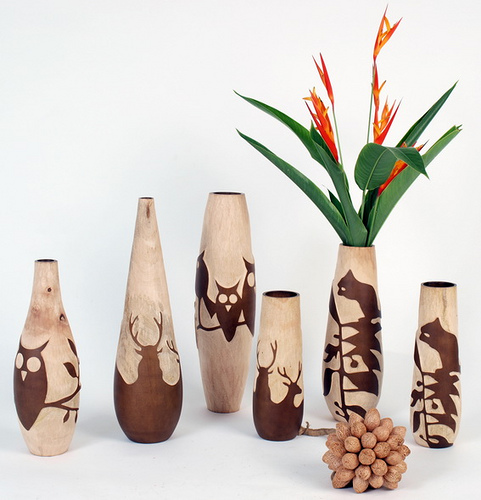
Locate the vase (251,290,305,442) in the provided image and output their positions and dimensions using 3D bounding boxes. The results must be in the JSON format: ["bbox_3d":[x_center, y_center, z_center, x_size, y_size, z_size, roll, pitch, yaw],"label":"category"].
[{"bbox_3d":[0.084,0.270,1.604,0.111,0.342,0.072,0,7,1],"label":"vase"}]

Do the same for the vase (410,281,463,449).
[{"bbox_3d":[0.427,0.260,1.575,0.104,0.364,0.071,3,8,19],"label":"vase"}]

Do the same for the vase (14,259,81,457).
[{"bbox_3d":[-0.406,0.238,1.517,0.134,0.426,0.081,-3,8,-21],"label":"vase"}]

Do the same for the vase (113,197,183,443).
[{"bbox_3d":[-0.200,0.167,1.567,0.145,0.551,0.076,-2,8,-13],"label":"vase"}]

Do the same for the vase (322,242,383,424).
[{"bbox_3d":[0.264,0.212,1.701,0.140,0.446,0.097,2,8,16],"label":"vase"}]

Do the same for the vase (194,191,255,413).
[{"bbox_3d":[-0.037,0.143,1.795,0.142,0.560,0.082,-1,7,-6],"label":"vase"}]
